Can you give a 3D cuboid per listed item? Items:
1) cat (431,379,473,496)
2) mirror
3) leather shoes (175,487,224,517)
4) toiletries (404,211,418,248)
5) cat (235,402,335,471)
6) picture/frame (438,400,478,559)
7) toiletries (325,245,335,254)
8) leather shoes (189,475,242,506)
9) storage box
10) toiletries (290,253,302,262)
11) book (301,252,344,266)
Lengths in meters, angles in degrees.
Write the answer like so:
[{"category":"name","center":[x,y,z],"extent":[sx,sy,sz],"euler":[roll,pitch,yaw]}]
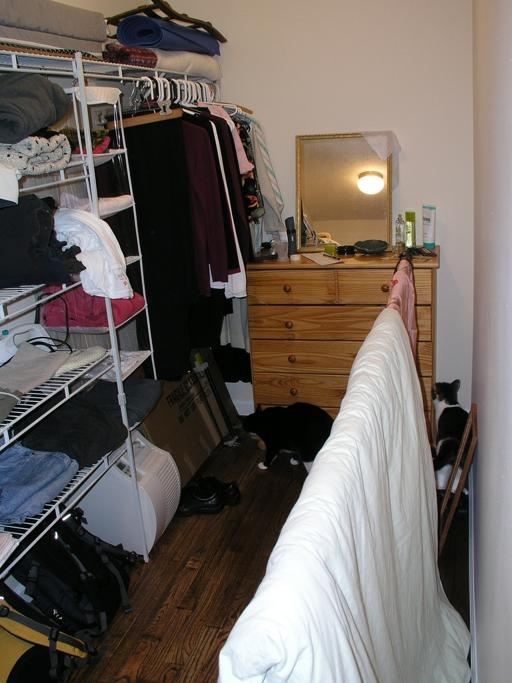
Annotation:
[{"category":"cat","center":[0.950,0.484,2.289],"extent":[0.194,0.206,0.617],"euler":[-17,43,39]},{"category":"mirror","center":[0.570,-0.969,2.920],"extent":[0.718,0.907,0.062],"euler":[0,9,13]},{"category":"leather shoes","center":[-0.316,0.870,2.534],"extent":[0.199,0.087,0.117],"euler":[2,11,8]},{"category":"toiletries","center":[0.947,-0.687,2.864],"extent":[0.070,0.207,0.203],"euler":[-3,12,20]},{"category":"cat","center":[0.216,0.597,2.835],"extent":[0.586,0.428,0.276],"euler":[1,14,38]},{"category":"picture/frame","center":[0.900,0.656,2.085],"extent":[0.038,0.530,0.591],"euler":[15,30,19]},{"category":"toiletries","center":[0.463,-0.571,2.922],"extent":[0.054,0.058,0.080],"euler":[6,4,20]},{"category":"leather shoes","center":[-0.238,0.849,2.622],"extent":[0.298,0.138,0.118],"euler":[9,23,20]},{"category":"storage box","center":[-0.395,0.490,2.892],"extent":[0.196,0.595,0.902],"euler":[-15,15,21]},{"category":"toiletries","center":[0.243,-0.511,2.890],"extent":[0.058,0.041,0.059],"euler":[-1,4,-28]},{"category":"book","center":[0.387,-0.501,2.844],"extent":[0.153,0.083,0.349],"euler":[-12,12,-19]}]
